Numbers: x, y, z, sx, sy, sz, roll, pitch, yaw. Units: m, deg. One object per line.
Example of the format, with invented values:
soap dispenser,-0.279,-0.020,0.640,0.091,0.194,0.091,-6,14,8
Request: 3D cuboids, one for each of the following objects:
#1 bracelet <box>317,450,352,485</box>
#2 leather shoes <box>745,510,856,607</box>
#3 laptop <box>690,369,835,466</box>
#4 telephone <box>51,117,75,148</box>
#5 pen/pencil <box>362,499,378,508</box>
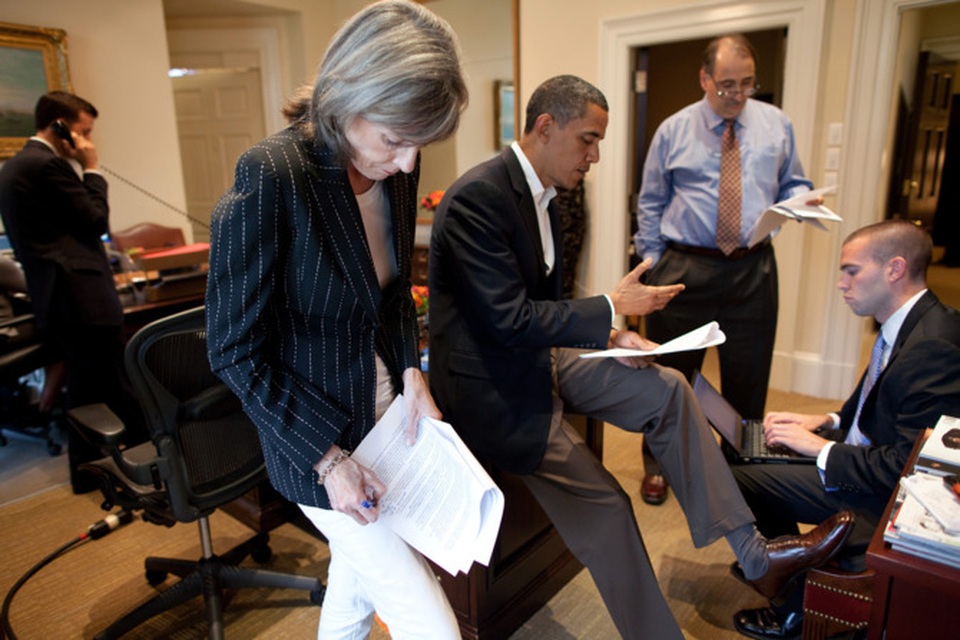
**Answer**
bracelet,-0.460,0.443,2.212,0.102,0.031,0.096,-43,-7,-21
leather shoes,1.215,0.893,2.709,0.184,0.438,0.146,29,31,-29
laptop,1.123,0.455,3.021,0.383,0.257,0.399,4,24,5
telephone,-2.218,-1.005,3.807,0.029,0.130,0.066,18,63,19
pen/pencil,-0.341,0.553,2.175,0.029,0.031,0.059,3,-14,-26
